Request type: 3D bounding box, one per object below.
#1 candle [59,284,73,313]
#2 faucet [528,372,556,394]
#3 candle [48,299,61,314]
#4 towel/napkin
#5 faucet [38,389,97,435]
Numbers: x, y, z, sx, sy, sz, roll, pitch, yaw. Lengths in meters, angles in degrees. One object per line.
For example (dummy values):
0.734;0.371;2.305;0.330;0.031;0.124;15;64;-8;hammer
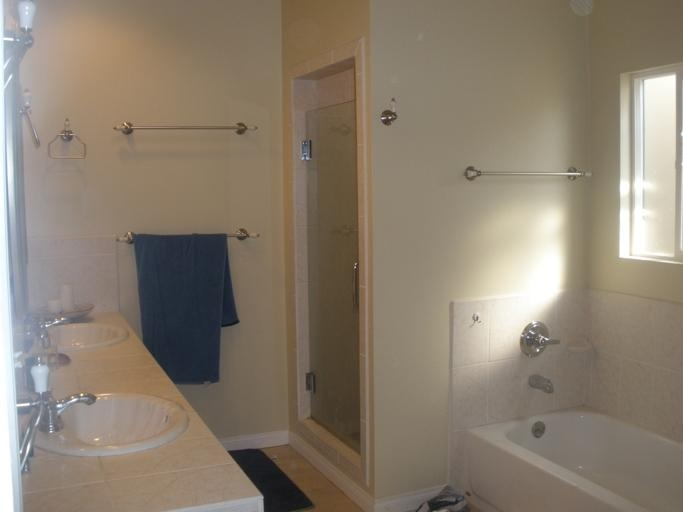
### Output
-1.330;0.200;2.763;0.059;0.116;0.096;0;9;-28;candle
0.819;0.519;2.343;0.053;0.034;0.089;-9;8;-11;faucet
-1.309;0.227;2.608;0.065;0.070;0.069;2;1;-17;candle
-0.900;0.271;3.308;0.574;0.906;0.286;0;25;-7;towel/napkin
-0.673;0.360;1.351;0.164;0.114;0.067;-2;3;25;faucet
